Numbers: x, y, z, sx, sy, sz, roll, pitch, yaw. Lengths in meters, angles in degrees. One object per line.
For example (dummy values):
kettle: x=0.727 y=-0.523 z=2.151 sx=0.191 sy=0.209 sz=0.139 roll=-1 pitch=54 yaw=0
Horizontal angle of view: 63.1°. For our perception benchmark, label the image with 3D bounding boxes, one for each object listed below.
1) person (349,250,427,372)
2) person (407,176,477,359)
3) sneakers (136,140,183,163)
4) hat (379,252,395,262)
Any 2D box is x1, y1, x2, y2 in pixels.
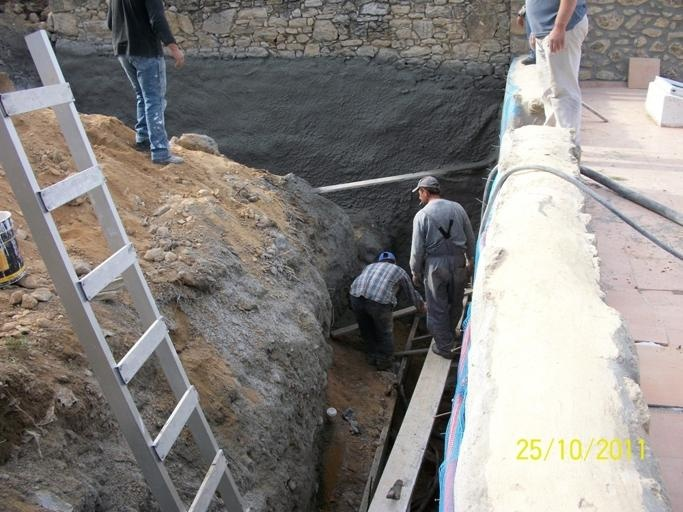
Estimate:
person: x=0.544 y=0.614 z=6.493 sx=0.973 sy=1.304 sz=0.873 roll=3 pitch=-1 yaw=-18
person: x=1.055 y=0.213 z=5.828 sx=0.588 sy=1.563 sz=0.689 roll=8 pitch=30 yaw=20
sneakers: x=-1.828 y=-1.031 z=5.526 sx=0.465 sy=0.207 sz=0.157 roll=13 pitch=40 yaw=-19
hat: x=0.513 y=0.023 z=6.485 sx=0.192 sy=0.145 sz=0.317 roll=1 pitch=-1 yaw=14
